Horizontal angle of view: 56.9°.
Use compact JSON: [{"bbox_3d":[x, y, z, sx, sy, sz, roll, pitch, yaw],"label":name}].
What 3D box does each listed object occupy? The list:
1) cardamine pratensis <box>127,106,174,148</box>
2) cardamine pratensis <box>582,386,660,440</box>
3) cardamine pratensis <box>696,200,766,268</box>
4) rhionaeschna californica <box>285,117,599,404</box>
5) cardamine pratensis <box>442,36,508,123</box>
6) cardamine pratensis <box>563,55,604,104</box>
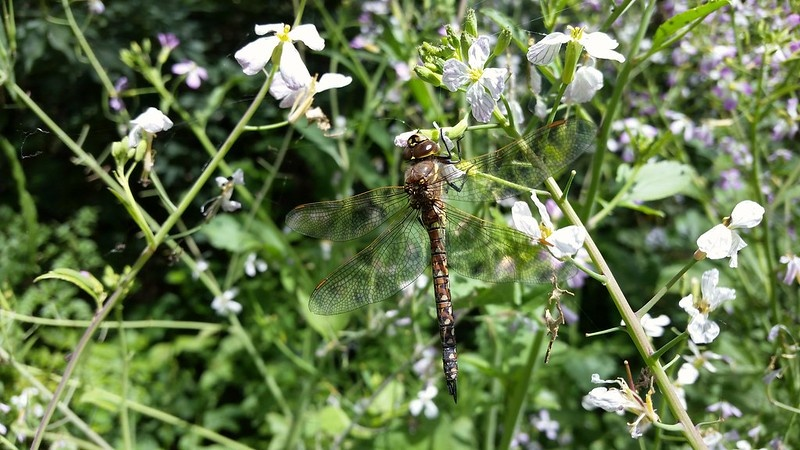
[{"bbox_3d":[-1.069,-0.421,3.162,0.170,0.163,0.152,2,32,-23],"label":"cardamine pratensis"},{"bbox_3d":[0.903,0.751,3.025,0.241,0.204,0.091,28,35,-7],"label":"cardamine pratensis"},{"bbox_3d":[1.357,0.029,3.027,0.160,0.257,0.281,33,33,29],"label":"cardamine pratensis"},{"bbox_3d":[0.170,-0.044,3.356,1.191,1.158,0.543,13,29,-5],"label":"rhionaeschna californica"},{"bbox_3d":[0.319,-0.602,3.089,0.283,0.337,0.111,-1,8,8],"label":"cardamine pratensis"},{"bbox_3d":[0.775,-0.597,3.114,0.157,0.309,0.087,2,1,14],"label":"cardamine pratensis"}]
